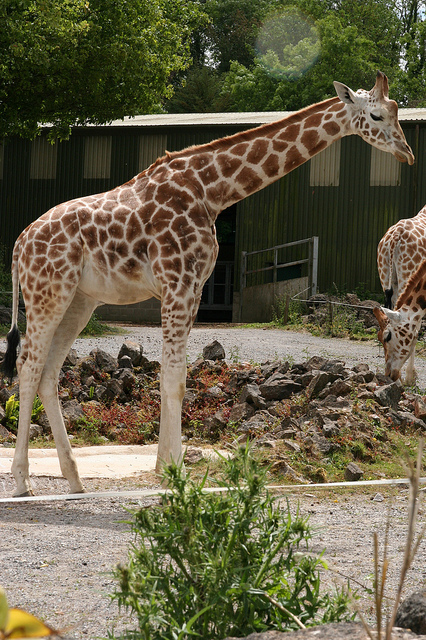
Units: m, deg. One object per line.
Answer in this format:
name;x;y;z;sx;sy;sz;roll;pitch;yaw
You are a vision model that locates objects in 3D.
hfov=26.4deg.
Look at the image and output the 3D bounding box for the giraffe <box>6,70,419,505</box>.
giraffe;-0.169;-0.247;5.736;2.122;2.555;0.803;0;4;-16
